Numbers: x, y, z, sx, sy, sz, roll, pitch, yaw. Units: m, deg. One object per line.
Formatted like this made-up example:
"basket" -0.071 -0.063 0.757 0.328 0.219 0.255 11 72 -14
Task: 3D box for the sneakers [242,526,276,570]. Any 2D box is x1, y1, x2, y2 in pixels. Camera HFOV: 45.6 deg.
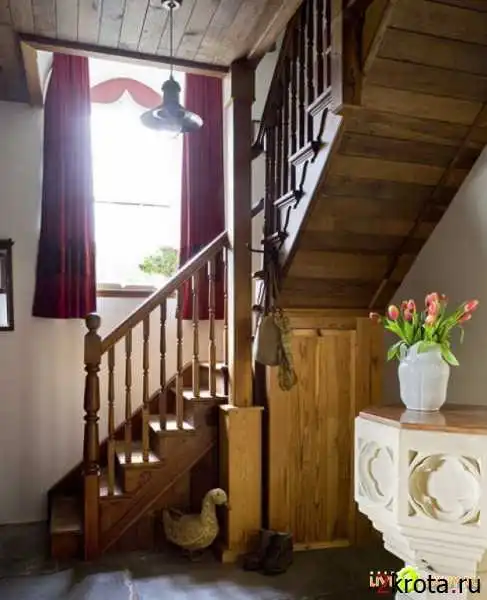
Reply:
"sneakers" 0.074 1.230 2.851 0.079 0.163 0.246 -5 -12 28

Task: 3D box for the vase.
"vase" 0.654 0.284 2.118 0.151 0.254 0.209 0 -9 24

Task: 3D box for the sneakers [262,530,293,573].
"sneakers" 0.156 1.229 2.824 0.129 0.152 0.205 1 -3 13

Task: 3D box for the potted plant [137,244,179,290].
"potted plant" -0.651 -0.208 4.380 0.234 0.406 0.346 -1 3 -24

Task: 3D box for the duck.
"duck" -0.226 1.142 3.039 0.350 0.444 0.267 1 -4 4

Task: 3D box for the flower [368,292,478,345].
"flower" 0.662 0.104 2.242 0.389 0.281 0.451 -6 -5 22

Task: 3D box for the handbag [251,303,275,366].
"handbag" 0.065 0.179 3.090 0.167 0.396 0.266 2 -2 -2

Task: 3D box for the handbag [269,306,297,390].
"handbag" 0.189 0.254 2.965 0.095 0.386 0.169 3 -3 -25
